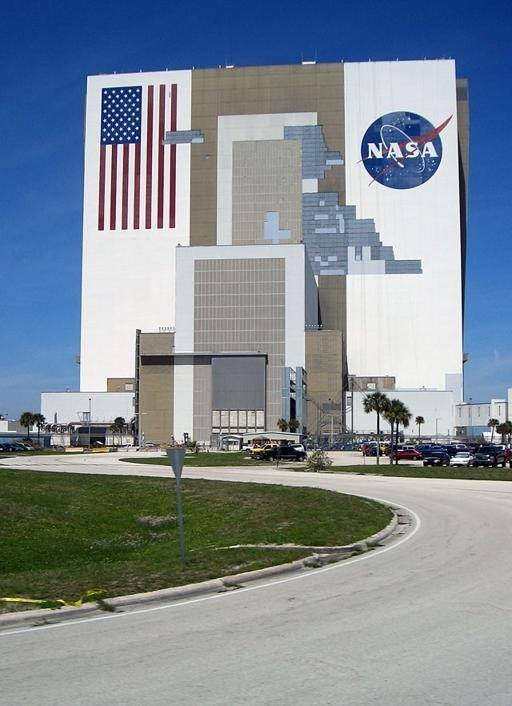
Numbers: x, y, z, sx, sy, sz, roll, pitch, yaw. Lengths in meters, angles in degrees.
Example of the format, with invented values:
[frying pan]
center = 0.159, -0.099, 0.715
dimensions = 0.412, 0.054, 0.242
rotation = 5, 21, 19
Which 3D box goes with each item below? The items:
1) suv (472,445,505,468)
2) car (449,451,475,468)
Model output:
[suv]
center = 15.319, 6.755, 61.510
dimensions = 1.125, 0.945, 2.518
rotation = -3, -12, 24
[car]
center = 14.042, 7.150, 63.574
dimensions = 0.945, 0.710, 2.158
rotation = 2, 6, 20
